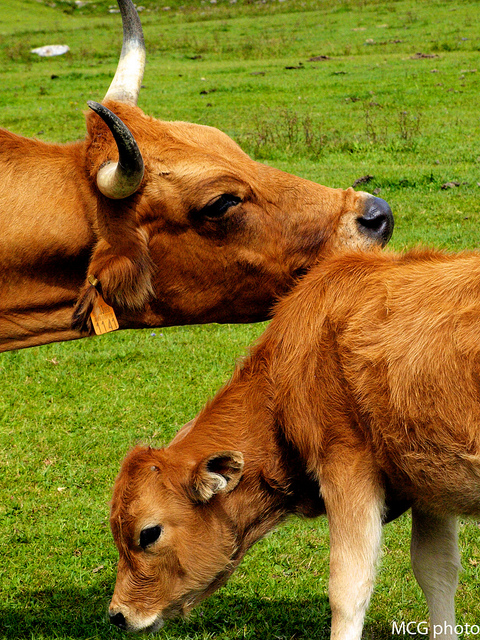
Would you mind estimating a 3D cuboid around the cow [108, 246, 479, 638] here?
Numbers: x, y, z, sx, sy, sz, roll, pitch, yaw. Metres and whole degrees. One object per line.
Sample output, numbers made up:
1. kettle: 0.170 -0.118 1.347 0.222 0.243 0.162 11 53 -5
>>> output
1. cow: 0.333 0.625 4.370 1.757 1.652 1.162 -4 30 -4
